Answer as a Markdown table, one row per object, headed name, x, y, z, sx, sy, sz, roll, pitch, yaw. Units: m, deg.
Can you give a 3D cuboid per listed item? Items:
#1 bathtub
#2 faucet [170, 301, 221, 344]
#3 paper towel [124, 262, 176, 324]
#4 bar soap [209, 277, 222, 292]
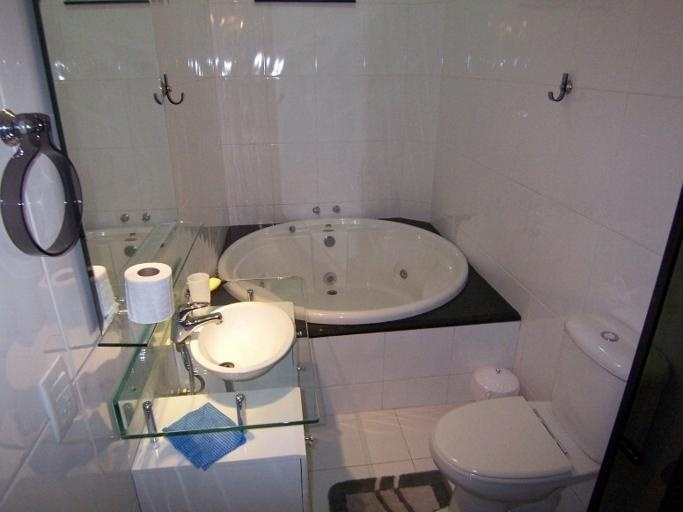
| name | x | y | z | sx | sy | sz | roll | pitch | yaw |
| --- | --- | --- | --- | --- | --- | --- | --- | --- | --- |
| bathtub | 0.047 | 0.129 | 3.197 | 1.478 | 0.467 | 1.110 | 8 | 23 | 22 |
| faucet | -0.522 | 0.221 | 1.749 | 0.126 | 0.045 | 0.170 | 3 | 24 | -12 |
| paper towel | -0.571 | 0.112 | 1.500 | 0.126 | 0.150 | 0.129 | -6 | 28 | -26 |
| bar soap | -0.673 | 0.144 | 2.687 | 0.080 | 0.022 | 0.082 | 10 | 57 | -24 |
